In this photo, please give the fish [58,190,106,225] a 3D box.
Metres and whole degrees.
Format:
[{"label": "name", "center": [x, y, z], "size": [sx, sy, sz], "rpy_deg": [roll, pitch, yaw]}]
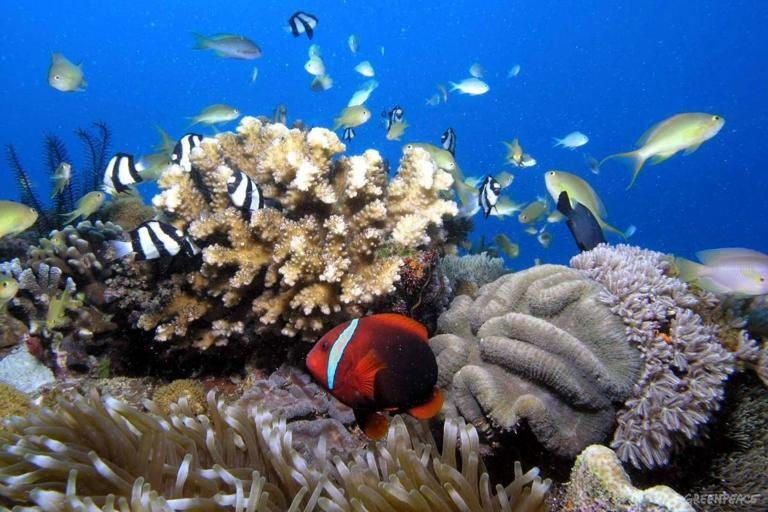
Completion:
[{"label": "fish", "center": [-4.692, -0.740, 10.382], "size": [0.751, 0.439, 0.197], "rpy_deg": [-36, 30, -26]}]
